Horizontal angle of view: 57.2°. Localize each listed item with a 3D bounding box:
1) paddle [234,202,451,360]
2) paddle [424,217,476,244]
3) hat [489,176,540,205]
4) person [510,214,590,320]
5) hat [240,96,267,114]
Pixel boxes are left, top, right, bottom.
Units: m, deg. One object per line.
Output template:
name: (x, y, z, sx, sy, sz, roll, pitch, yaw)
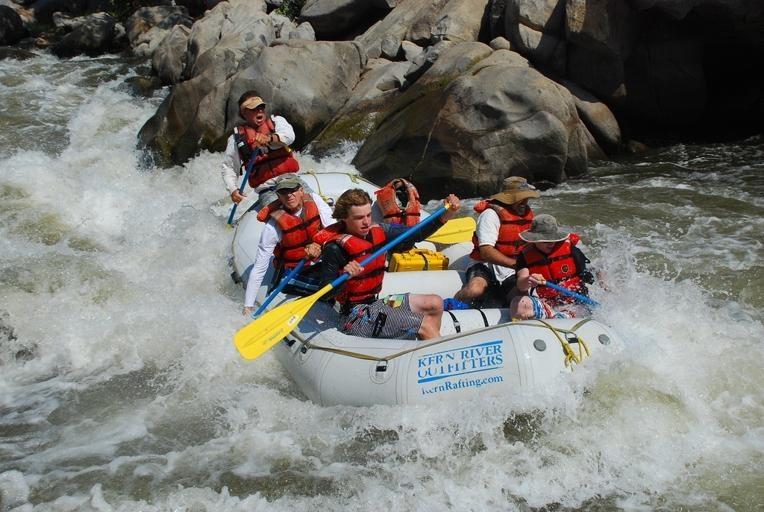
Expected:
paddle: (-0.461, 0.365, 8.566, 3.032, 0.115, 0.370, -39, 67, 1)
paddle: (0.973, -0.303, 9.958, 0.727, 0.125, 0.311, -23, 75, -12)
hat: (1.718, -0.823, 8.929, 0.467, 0.455, 0.187, -7, 102, -2)
person: (2.077, 0.194, 8.599, 0.922, 0.891, 1.309, -15, 102, -4)
hat: (-1.840, -2.138, 9.952, 0.330, 0.224, 0.166, -22, 77, -3)
